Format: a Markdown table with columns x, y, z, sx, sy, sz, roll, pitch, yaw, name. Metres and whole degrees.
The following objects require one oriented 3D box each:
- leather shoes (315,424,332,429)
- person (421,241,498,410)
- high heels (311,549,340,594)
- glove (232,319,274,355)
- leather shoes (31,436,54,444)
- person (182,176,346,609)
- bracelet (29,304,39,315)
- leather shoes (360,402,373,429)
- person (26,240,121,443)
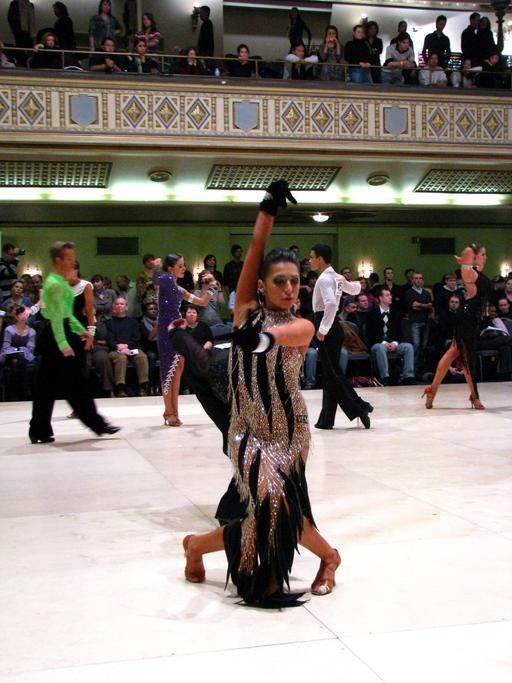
| x | y | z | sx | sy | sz | roll | pitch | yaw | name |
| --- | --- | --- | --- | --- | --- | --- | --- | --- | --- |
| 0.681 | 0.850 | 6.421 | 0.160 | 0.053 | 0.055 | -1 | -1 | 25 | leather shoes |
| 2.400 | -0.151 | 7.652 | 0.761 | 1.929 | 1.232 | -1 | 0 | 14 | person |
| 0.243 | 0.808 | 2.211 | 0.067 | 0.074 | 0.185 | -12 | -9 | 19 | high heels |
| -0.006 | -0.014 | 1.944 | 0.071 | 0.082 | 0.161 | 16 | 15 | -2 | glove |
| -1.939 | 0.897 | 5.783 | 0.211 | 0.065 | 0.067 | -4 | -2 | -7 | leather shoes |
| 0.044 | 0.164 | 2.191 | 0.584 | 1.463 | 0.756 | -1 | 1 | -10 | person |
| -3.350 | -0.484 | 9.577 | 0.211 | 0.070 | 0.151 | -30 | 27 | -21 | bracelet |
| 1.100 | 0.742 | 6.393 | 0.115 | 0.265 | 0.208 | -3 | 7 | 1 | leather shoes |
| -1.619 | 0.025 | 5.711 | 0.986 | 1.689 | 0.558 | 0 | 2 | -8 | person |
